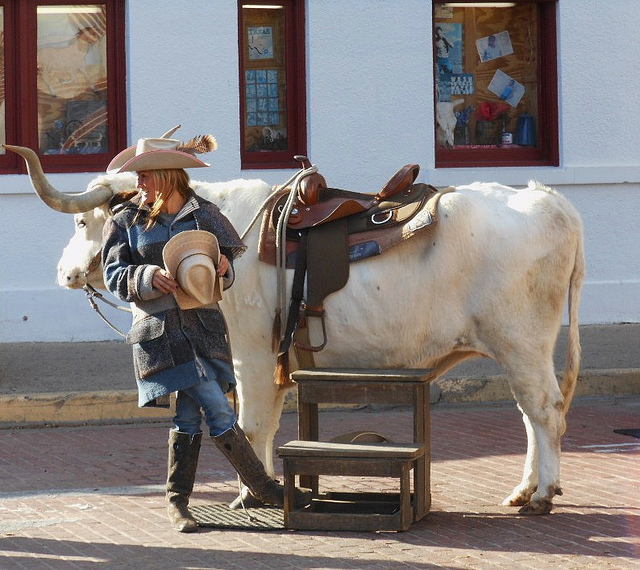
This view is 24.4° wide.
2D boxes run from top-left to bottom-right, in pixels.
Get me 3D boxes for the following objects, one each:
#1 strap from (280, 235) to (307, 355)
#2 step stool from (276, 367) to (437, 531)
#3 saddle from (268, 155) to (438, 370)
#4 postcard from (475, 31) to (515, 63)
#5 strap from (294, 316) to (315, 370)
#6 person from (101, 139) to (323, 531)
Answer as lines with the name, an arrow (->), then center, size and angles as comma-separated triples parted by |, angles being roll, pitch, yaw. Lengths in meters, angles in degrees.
strap -> -0.200, 0.077, 10.749 | 0.141, 0.838, 0.379 | 2, 14, 14
step stool -> 0.276, 1.186, 10.914 | 1.599, 1.051, 1.219 | -1, 0, 3
saddle -> 0.253, -0.156, 11.600 | 1.907, 1.604, 1.695 | 1, 1, 7
postcard -> 1.985, -2.800, 17.170 | 0.461, 0.233, 0.007 | -17, 9, -6
strap -> -0.110, 0.462, 10.797 | 0.050, 0.457, 0.207 | 8, -20, -30
person -> -0.925, 0.366, 10.368 | 1.141, 2.754, 0.853 | -3, 14, -7
